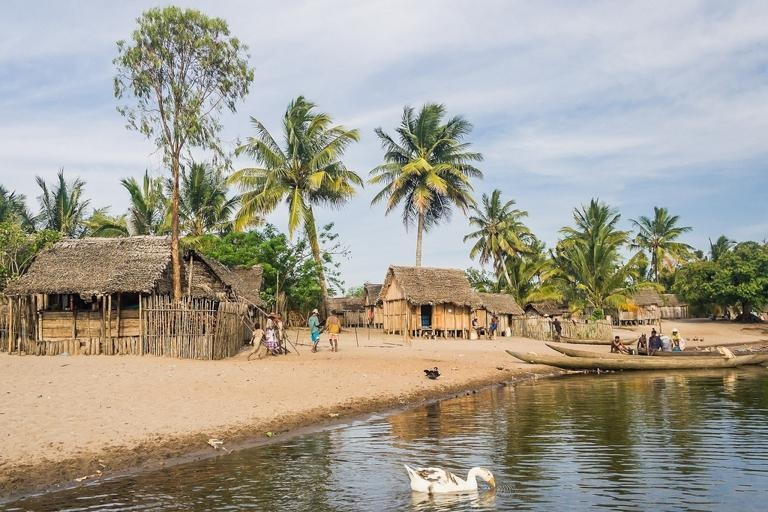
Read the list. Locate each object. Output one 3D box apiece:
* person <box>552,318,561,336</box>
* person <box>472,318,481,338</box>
[{"bbox_3d":[11.365,4.726,44.689,0.450,1.147,1.570,3,3,17],"label":"person"},{"bbox_3d":[6.228,4.905,46.095,0.516,1.277,2.225,3,3,9],"label":"person"}]
